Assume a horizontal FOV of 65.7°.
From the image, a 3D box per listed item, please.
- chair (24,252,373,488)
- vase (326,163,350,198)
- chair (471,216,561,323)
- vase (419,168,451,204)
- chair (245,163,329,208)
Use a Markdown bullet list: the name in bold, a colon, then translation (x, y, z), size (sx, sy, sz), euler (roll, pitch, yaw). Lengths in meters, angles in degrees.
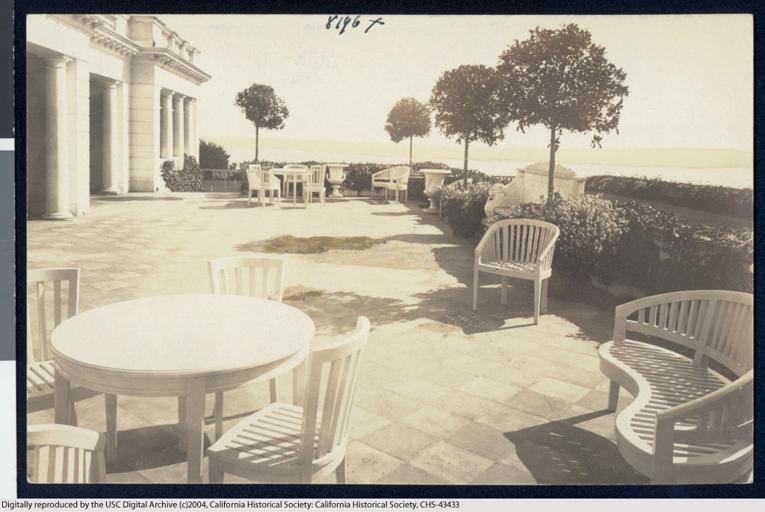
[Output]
- **chair**: translation (-1.199, 0.682, 3.815), size (2.104, 1.046, 1.449), euler (7, 9, 41)
- **vase**: translation (-1.122, -1.855, 14.424), size (0.647, 0.814, 0.545), euler (-1, 12, -19)
- **chair**: translation (1.601, 0.189, 6.964), size (1.097, 1.313, 0.890), euler (6, 11, 33)
- **vase**: translation (1.073, -1.496, 12.723), size (0.766, 0.811, 0.737), euler (0, 8, -4)
- **chair**: translation (-2.138, -1.625, 13.268), size (1.598, 0.866, 2.124), euler (2, 11, -4)
